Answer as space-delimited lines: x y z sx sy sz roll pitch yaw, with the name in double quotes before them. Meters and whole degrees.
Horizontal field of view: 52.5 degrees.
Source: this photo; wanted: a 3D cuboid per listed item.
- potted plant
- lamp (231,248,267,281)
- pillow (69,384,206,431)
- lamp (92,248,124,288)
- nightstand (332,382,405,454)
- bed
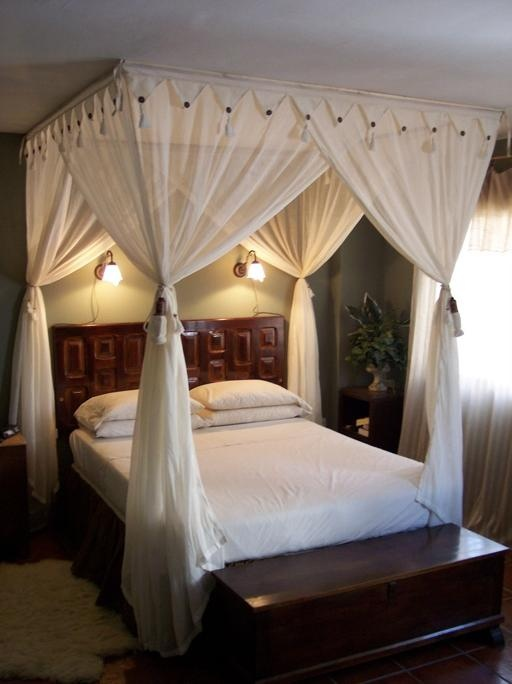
"potted plant" 0.990 -0.007 4.370 0.452 0.638 0.461 1 -4 -27
"lamp" -0.052 -0.628 4.178 0.181 0.275 0.285 -1 6 -34
"pillow" -0.916 0.438 3.386 0.512 0.160 0.471 -6 11 -29
"lamp" -1.042 -0.531 3.672 0.199 0.231 0.216 -2 1 -15
"nightstand" 0.920 0.613 4.347 0.285 0.390 0.397 -11 15 -38
"bed" 0.108 0.668 3.114 1.616 1.283 1.937 3 -4 -16
